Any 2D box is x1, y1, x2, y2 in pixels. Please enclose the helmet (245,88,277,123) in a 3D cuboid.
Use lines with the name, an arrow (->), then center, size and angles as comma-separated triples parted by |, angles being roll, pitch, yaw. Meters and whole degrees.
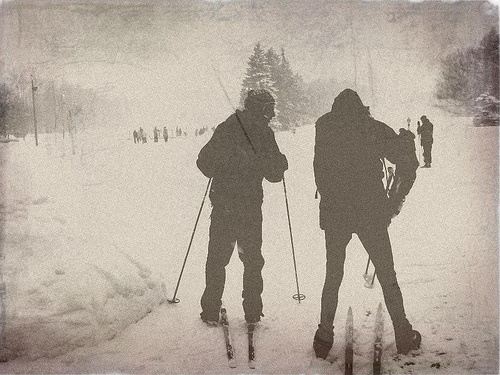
helmet -> 0.104, -0.872, 6.853 | 0.312, 0.375, 0.274 | 3, 4, -9
